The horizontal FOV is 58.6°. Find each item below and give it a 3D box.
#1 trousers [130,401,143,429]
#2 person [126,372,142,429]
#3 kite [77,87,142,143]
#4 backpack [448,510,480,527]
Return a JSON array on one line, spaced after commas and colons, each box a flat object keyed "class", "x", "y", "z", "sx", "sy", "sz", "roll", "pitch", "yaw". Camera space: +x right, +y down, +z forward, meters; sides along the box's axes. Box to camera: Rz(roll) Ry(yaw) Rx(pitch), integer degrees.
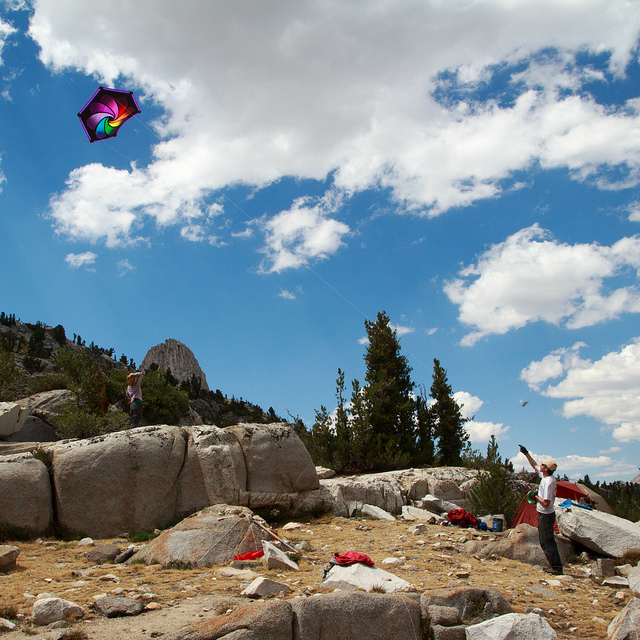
[{"class": "trousers", "x": -5.679, "y": 2.892, "z": 17.487, "sx": 0.298, "sy": 0.800, "sz": 0.638, "roll": 0, "pitch": -12, "yaw": -24}, {"class": "person", "x": -5.817, "y": 2.482, "z": 17.708, "sx": 0.389, "sy": 1.735, "sz": 1.031, "roll": -1, "pitch": -12, "yaw": -19}, {"class": "kite", "x": -6.098, "y": -5.807, "z": 16.399, "sx": 1.761, "sy": 0.395, "sz": 1.907, "roll": -53, "pitch": -9, "yaw": 26}, {"class": "backpack", "x": 3.982, "y": 5.499, "z": 15.871, "sx": 0.522, "sy": 0.305, "sz": 0.430, "roll": -1, "pitch": -2, "yaw": -5}]
